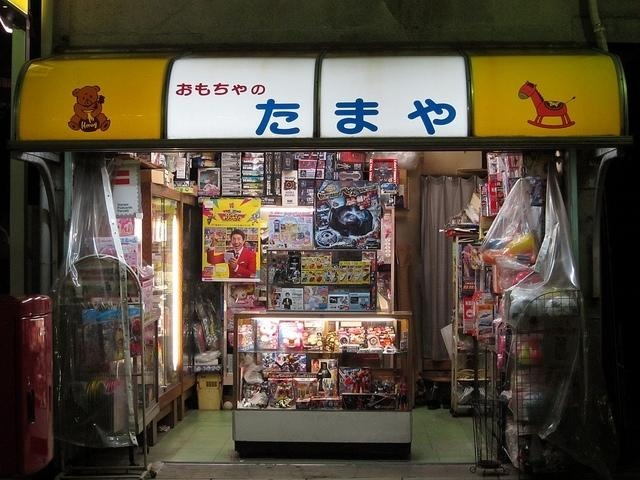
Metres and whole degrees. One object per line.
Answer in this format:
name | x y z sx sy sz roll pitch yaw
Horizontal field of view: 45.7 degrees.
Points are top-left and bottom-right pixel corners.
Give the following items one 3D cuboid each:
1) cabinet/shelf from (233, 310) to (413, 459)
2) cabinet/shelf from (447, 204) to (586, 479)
cabinet/shelf | 0.050 1.536 7.775 1.341 1.186 0.488 0 -7 3
cabinet/shelf | 1.928 0.988 7.302 0.860 2.446 2.506 1 -1 6
